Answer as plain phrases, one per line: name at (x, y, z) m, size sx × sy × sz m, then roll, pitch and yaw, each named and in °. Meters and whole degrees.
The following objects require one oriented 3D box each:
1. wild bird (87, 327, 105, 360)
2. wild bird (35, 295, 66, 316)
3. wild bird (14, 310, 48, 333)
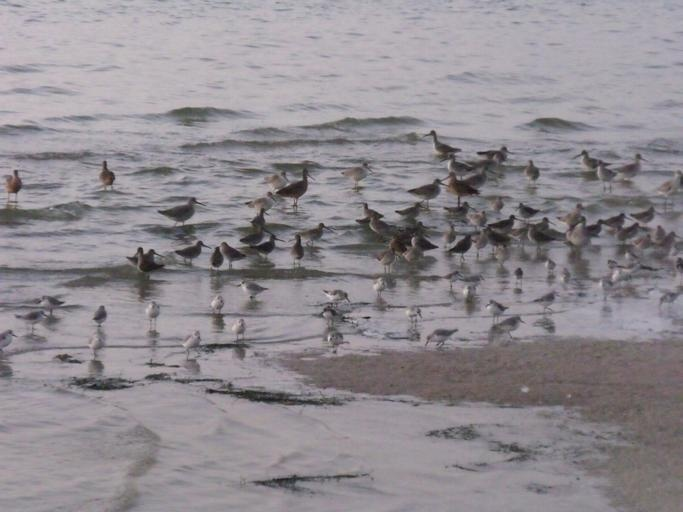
wild bird at (-6.216, 2.268, 30.610) m, size 0.451 × 0.515 × 0.793 m, roll 2°, pitch -23°, yaw -28°
wild bird at (-7.993, 1.316, 32.678) m, size 0.463 × 0.478 × 0.868 m, roll 3°, pitch 6°, yaw 27°
wild bird at (-8.370, 1.677, 31.941) m, size 0.844 × 0.461 × 0.887 m, roll -3°, pitch 16°, yaw -14°
